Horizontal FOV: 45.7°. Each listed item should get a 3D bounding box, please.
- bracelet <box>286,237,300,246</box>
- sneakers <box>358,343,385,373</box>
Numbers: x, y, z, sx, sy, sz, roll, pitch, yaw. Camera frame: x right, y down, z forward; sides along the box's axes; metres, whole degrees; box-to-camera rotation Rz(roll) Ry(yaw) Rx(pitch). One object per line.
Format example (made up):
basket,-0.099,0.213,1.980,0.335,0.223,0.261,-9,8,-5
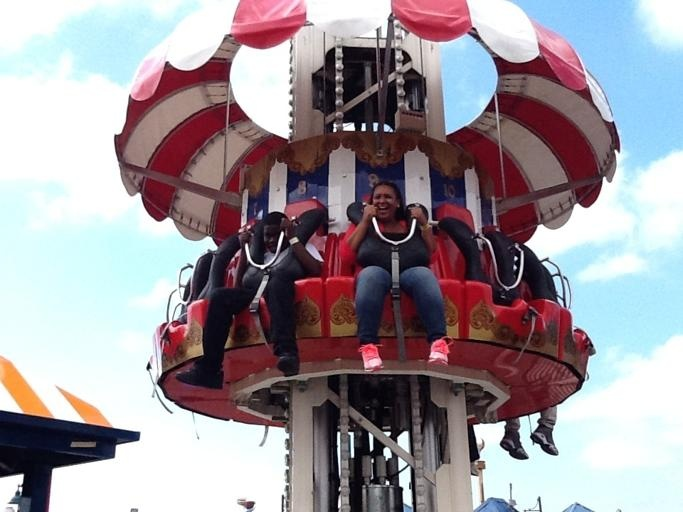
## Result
bracelet,-0.864,-0.272,14.804,0.134,0.074,0.152,-36,-7,16
sneakers,0.488,1.690,13.549,0.251,0.571,0.248,-3,-70,-8
